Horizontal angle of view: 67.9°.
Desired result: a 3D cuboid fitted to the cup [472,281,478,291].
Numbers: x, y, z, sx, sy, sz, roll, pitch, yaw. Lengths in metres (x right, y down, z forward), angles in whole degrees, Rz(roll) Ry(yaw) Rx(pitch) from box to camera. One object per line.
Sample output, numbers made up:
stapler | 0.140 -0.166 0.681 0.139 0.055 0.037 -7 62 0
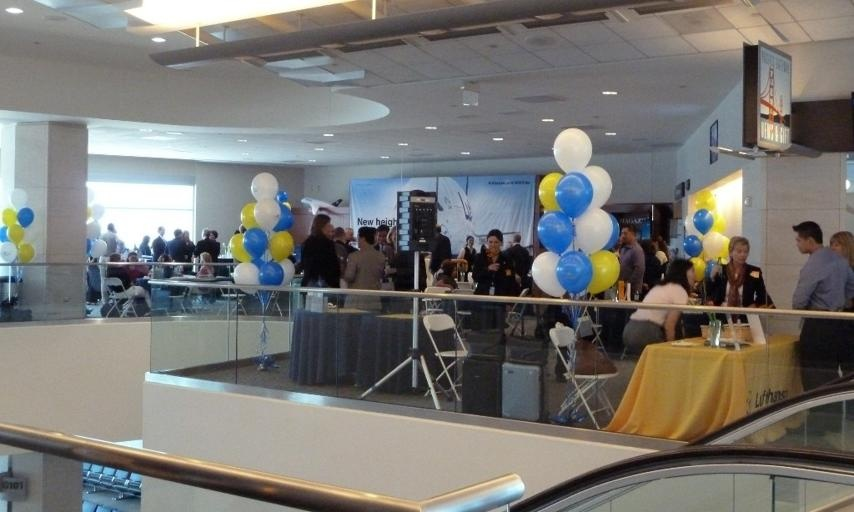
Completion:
cup | 0.756 0.483 10.116 0.085 0.111 0.108 -2 -14 3
